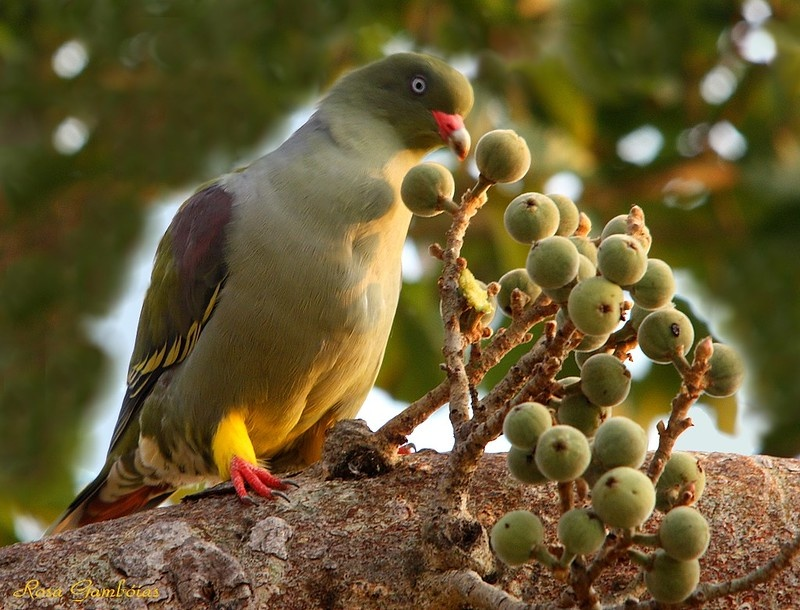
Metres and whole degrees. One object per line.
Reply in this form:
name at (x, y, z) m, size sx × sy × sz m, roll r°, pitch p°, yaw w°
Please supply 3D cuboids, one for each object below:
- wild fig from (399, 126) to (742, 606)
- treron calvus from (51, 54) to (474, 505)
wild fig at (0.660, 0.217, 5.712) m, size 0.927 × 1.143 × 2.192 m, roll 23°, pitch 48°, yaw -38°
treron calvus at (-0.679, -0.173, 6.564) m, size 1.038 × 2.063 × 1.887 m, roll 31°, pitch 47°, yaw -50°
